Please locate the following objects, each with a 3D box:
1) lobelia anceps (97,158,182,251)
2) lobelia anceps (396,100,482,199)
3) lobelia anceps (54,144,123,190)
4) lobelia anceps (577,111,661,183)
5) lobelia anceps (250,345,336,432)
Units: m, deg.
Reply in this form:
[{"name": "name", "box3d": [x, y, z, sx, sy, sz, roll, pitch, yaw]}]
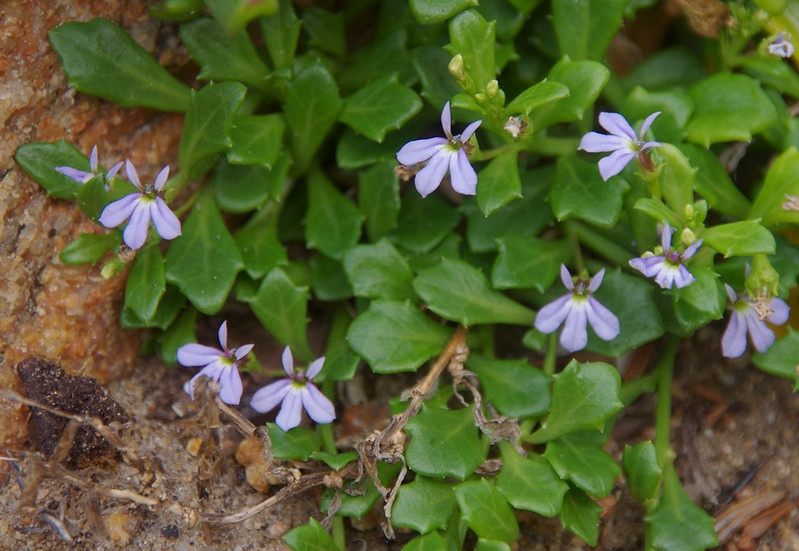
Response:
[{"name": "lobelia anceps", "box3d": [-0.907, -0.253, 2.894, 0.276, 0.154, 0.343, -8, 72, -1]}, {"name": "lobelia anceps", "box3d": [0.150, -0.428, 2.876, 0.277, 0.373, 0.122, 21, -3, 24]}, {"name": "lobelia anceps", "box3d": [-1.153, -0.375, 3.023, 0.210, 0.231, 0.097, -25, 75, -13]}, {"name": "lobelia anceps", "box3d": [0.835, -0.498, 2.957, 0.281, 0.133, 0.392, 6, -4, -3]}, {"name": "lobelia anceps", "box3d": [-0.378, 0.426, 2.930, 0.289, 0.402, 0.101, 15, 18, -6]}]
